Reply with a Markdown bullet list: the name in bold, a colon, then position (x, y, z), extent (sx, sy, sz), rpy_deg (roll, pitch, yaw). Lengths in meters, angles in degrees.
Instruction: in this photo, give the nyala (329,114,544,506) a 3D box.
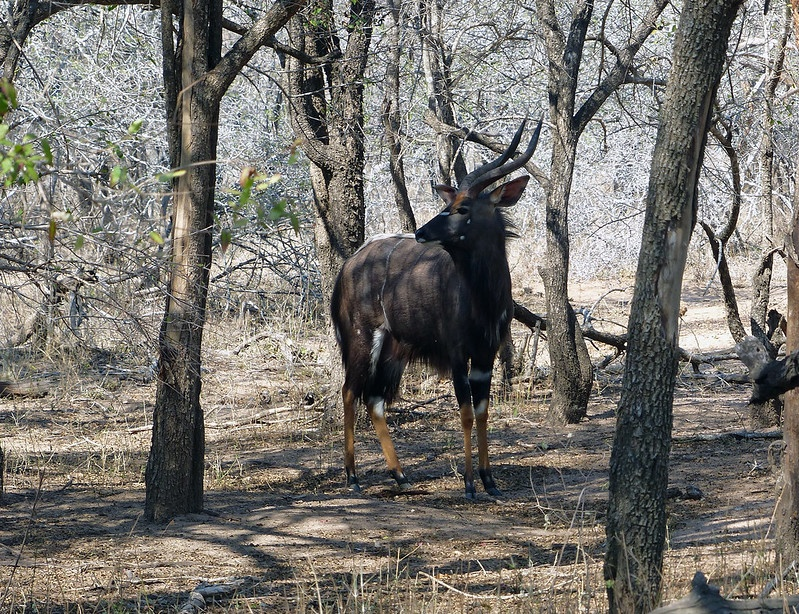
- **nyala**: position (0.353, 0.246, 17.582), extent (2.617, 3.994, 1.161), rpy_deg (-5, -4, 39)
